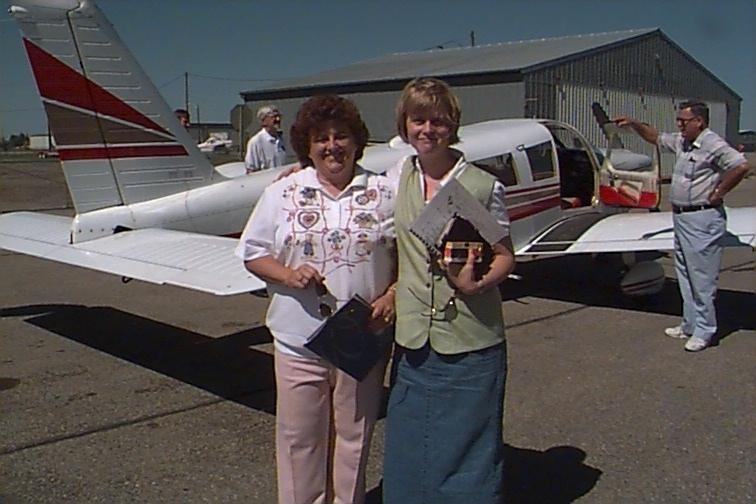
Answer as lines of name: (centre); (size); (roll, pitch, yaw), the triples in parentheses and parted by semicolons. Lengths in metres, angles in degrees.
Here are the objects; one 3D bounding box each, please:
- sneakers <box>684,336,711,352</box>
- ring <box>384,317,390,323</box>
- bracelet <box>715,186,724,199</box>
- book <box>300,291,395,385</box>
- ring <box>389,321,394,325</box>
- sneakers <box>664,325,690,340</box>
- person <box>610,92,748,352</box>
sneakers: (3.401, 0.974, 5.933); (0.274, 0.107, 0.136); (2, -1, -32)
ring: (0.048, 0.381, 3.135); (0.030, 0.027, 0.007); (-39, 20, -14)
bracelet: (3.474, -0.605, 5.699); (0.077, 0.090, 0.101); (-8, 40, 28)
book: (-0.148, 0.477, 3.092); (0.502, 0.481, 0.077); (-10, 11, -21)
ring: (0.073, 0.400, 3.157); (0.023, 0.023, 0.005); (7, 8, -15)
sneakers: (3.351, 0.891, 6.266); (0.216, 0.088, 0.151); (2, 13, 0)
person: (3.459, -0.300, 5.967); (0.631, 2.584, 0.710); (-6, 10, 4)
